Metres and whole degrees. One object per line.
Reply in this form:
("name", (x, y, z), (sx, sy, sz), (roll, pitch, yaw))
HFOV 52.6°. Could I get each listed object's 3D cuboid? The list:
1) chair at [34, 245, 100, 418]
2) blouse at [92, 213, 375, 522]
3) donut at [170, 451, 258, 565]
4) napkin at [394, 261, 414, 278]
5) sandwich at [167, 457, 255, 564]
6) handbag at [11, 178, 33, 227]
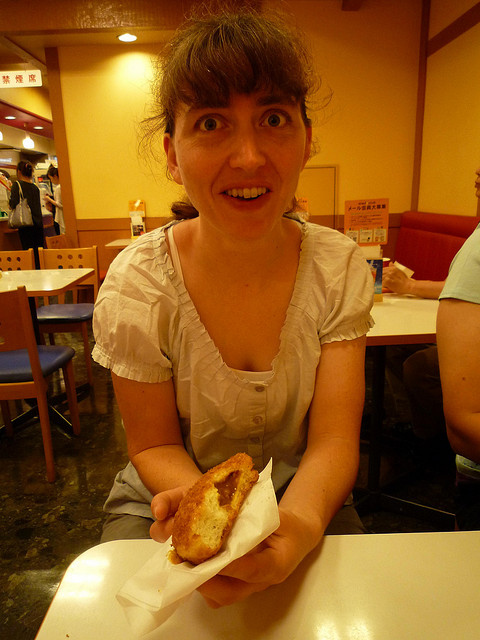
("chair", (-1.243, -0.036, 3.411), (0.436, 0.837, 0.535), (-2, 18, -8))
("blouse", (-0.057, 0.072, 1.127), (0.449, 0.689, 0.451), (3, 17, -13))
("donut", (-0.040, 0.246, 0.651), (0.098, 0.059, 0.182), (-21, 8, 25))
("napkin", (0.733, -0.228, 2.175), (0.077, 0.018, 0.069), (20, 28, -29))
("sandwich", (-0.040, 0.246, 0.649), (0.097, 0.054, 0.180), (-22, 8, 25))
("handbag", (-2.947, -1.553, 6.495), (0.137, 0.620, 0.320), (8, 17, 32))
